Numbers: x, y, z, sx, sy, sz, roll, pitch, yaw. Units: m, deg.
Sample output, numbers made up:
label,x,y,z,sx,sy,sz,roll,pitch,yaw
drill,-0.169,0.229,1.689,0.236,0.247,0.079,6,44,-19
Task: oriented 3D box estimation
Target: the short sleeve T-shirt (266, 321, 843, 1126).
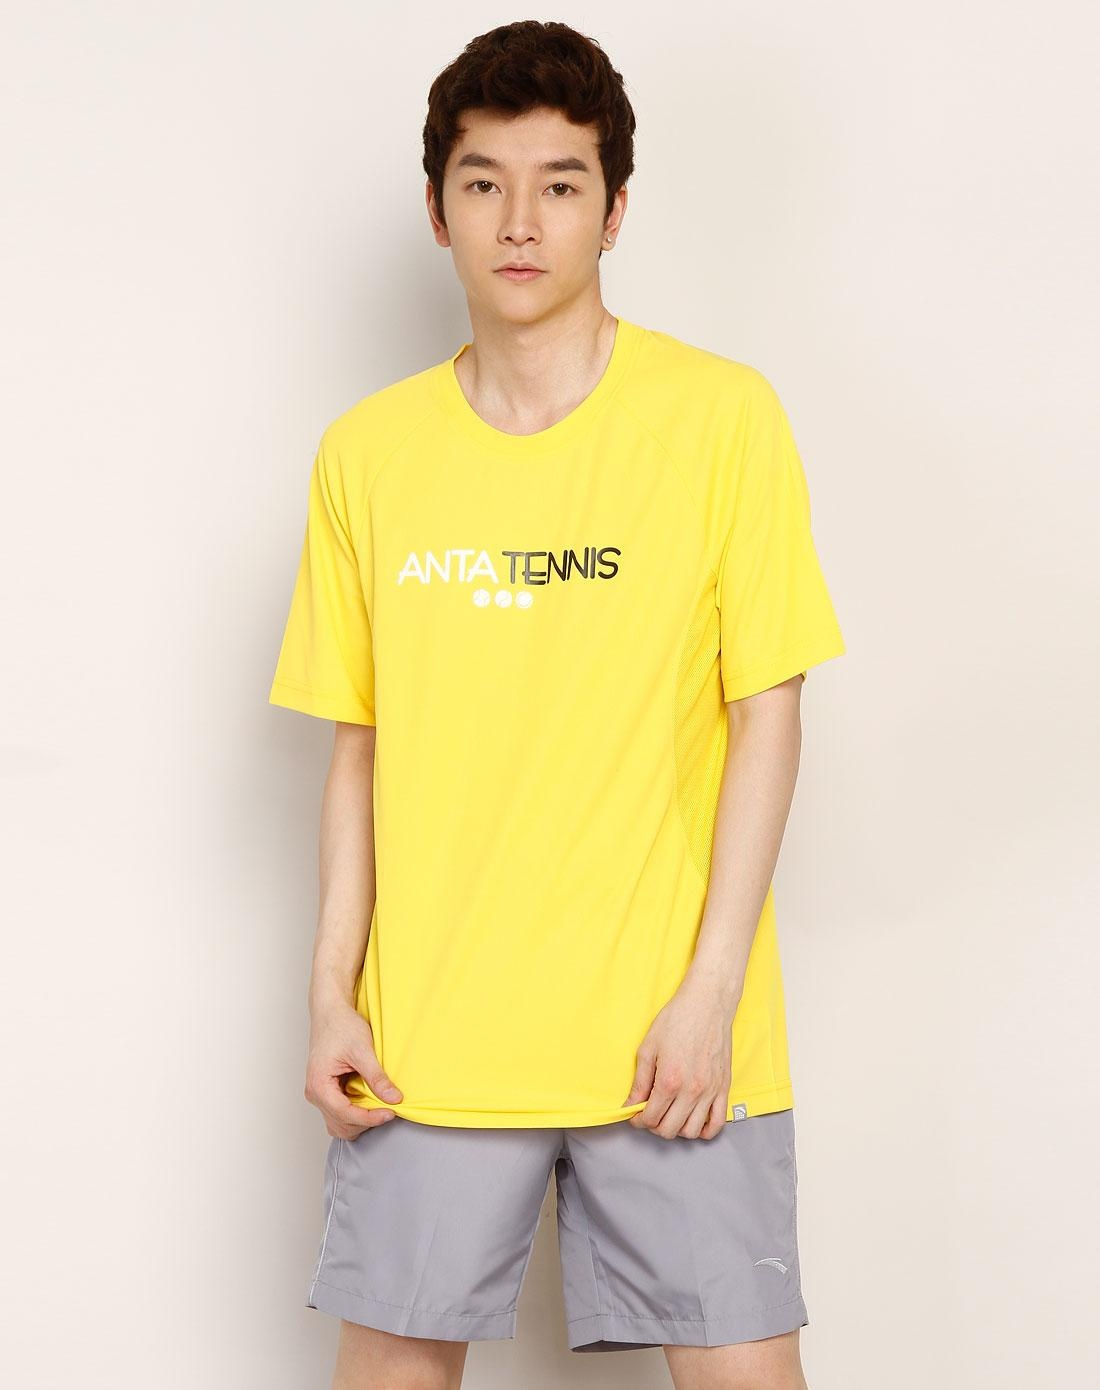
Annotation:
label,x,y,z,sx,sy,sz,roll,pitch,yaw
short sleeve T-shirt,-0.010,0.010,1.341,0.555,0.726,0.292,-3,5,-1
